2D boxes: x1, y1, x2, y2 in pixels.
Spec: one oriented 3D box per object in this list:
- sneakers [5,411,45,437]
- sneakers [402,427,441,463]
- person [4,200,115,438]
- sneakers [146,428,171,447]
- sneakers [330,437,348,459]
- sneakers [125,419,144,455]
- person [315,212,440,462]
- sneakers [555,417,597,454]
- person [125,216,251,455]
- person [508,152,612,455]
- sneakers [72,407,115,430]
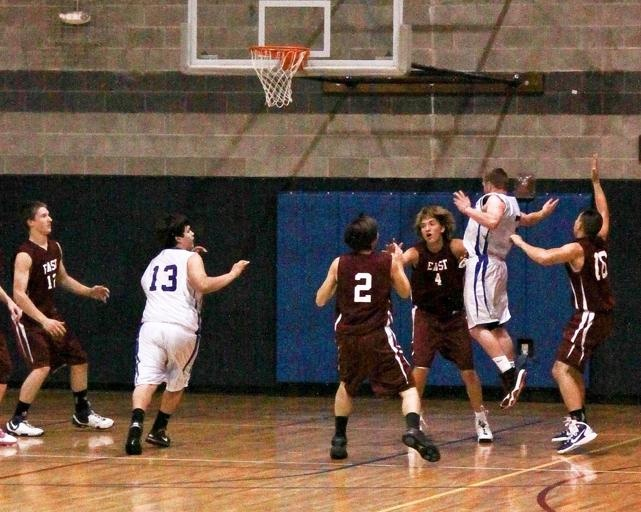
[{"bbox_3d":[-2.613,1.530,9.347,0.409,0.206,0.147,2,0,-1],"label":"sneakers"},{"bbox_3d":[0.752,1.473,8.047,0.267,0.200,0.191,-1,1,-8],"label":"sneakers"},{"bbox_3d":[-2.389,0.555,9.453,0.890,1.969,0.862,-1,0,-5],"label":"person"},{"bbox_3d":[-1.358,1.558,8.892,0.093,0.189,0.266,2,-1,39],"label":"sneakers"},{"bbox_3d":[0.140,1.572,8.460,0.096,0.135,0.198,1,0,4],"label":"sneakers"},{"bbox_3d":[-1.530,1.500,8.598,0.132,0.248,0.201,-1,1,-12],"label":"sneakers"},{"bbox_3d":[0.460,0.786,8.299,0.907,1.478,0.402,-1,1,29],"label":"person"},{"bbox_3d":[2.125,1.506,8.752,0.298,0.205,0.247,-1,1,26],"label":"sneakers"},{"bbox_3d":[-1.218,0.786,8.645,0.761,1.665,0.491,-1,0,-5],"label":"person"},{"bbox_3d":[2.181,0.423,9.113,0.665,1.717,1.035,-1,1,19],"label":"person"},{"bbox_3d":[-2.080,1.512,9.691,0.429,0.190,0.158,0,-1,16],"label":"sneakers"}]
